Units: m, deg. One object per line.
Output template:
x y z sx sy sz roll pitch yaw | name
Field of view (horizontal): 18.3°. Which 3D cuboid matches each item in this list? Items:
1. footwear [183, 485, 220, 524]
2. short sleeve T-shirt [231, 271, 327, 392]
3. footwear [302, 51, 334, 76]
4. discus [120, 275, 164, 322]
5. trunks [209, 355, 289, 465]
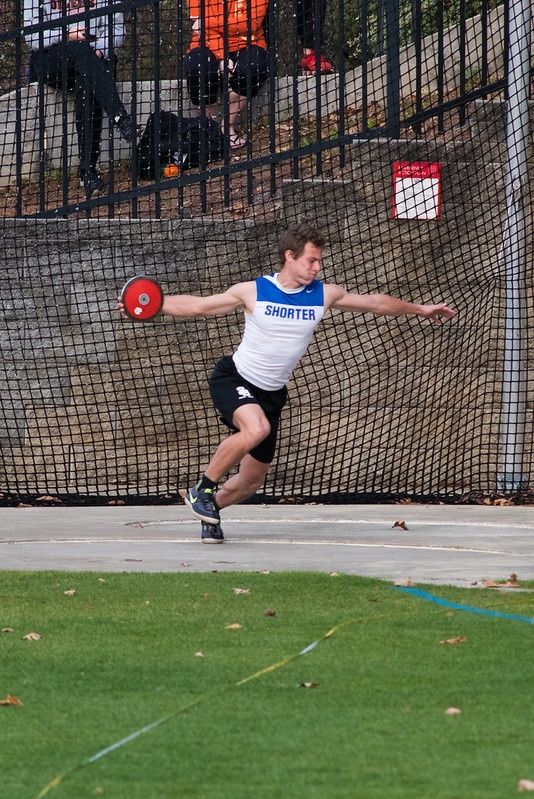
-0.308 0.512 8.188 0.088 0.117 0.259 17 11 -42 | footwear
0.053 -0.310 8.021 0.431 0.569 0.190 1 9 -1 | short sleeve T-shirt
0.339 -2.330 11.574 0.168 0.166 0.363 -2 6 -19 | footwear
-0.595 -0.475 7.900 0.206 0.216 0.108 0 9 -4 | discus
-0.100 0.036 8.147 0.369 0.487 0.282 5 38 -3 | trunks
